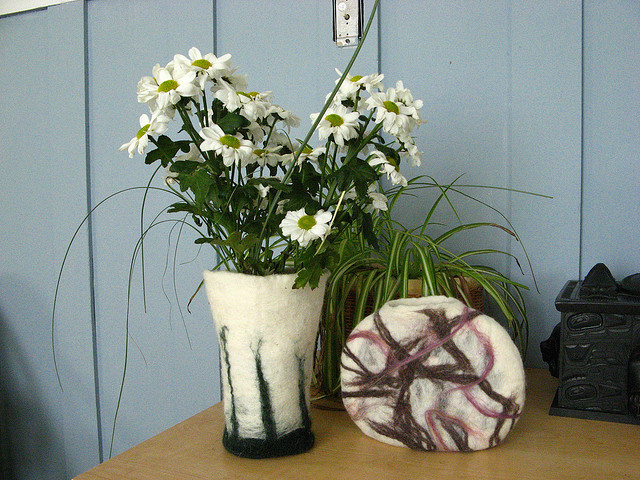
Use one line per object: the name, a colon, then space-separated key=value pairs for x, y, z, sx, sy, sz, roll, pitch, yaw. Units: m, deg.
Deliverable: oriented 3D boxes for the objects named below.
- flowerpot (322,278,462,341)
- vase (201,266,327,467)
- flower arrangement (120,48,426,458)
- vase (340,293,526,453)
flowerpot: x=0.110 y=0.129 z=1.377 sx=0.173 sy=0.108 sz=0.158 roll=4 pitch=-8 yaw=-32
vase: x=-0.113 y=0.239 z=1.411 sx=0.277 sy=0.453 sz=0.267 roll=-1 pitch=1 yaw=-20
flower arrangement: x=-0.085 y=0.040 z=1.262 sx=0.455 sy=0.745 sz=0.424 roll=6 pitch=7 yaw=14
vase: x=0.210 y=0.231 z=1.298 sx=0.342 sy=0.345 sz=0.190 roll=5 pitch=22 yaw=21
